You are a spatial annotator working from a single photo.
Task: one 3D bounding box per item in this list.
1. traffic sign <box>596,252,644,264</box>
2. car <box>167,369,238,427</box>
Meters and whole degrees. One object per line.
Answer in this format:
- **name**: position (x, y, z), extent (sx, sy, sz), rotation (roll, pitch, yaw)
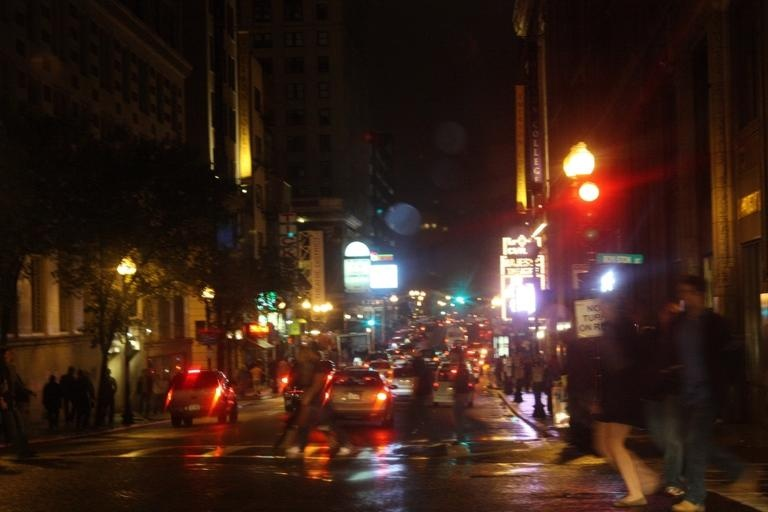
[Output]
- **traffic sign**: position (5.764, 0.054, 22.992), extent (1.295, 0.258, 0.347), rotation (4, -15, -19)
- **car**: position (-6.561, 5.241, 34.669), extent (1.725, 1.389, 2.832), rotation (0, 1, 3)
